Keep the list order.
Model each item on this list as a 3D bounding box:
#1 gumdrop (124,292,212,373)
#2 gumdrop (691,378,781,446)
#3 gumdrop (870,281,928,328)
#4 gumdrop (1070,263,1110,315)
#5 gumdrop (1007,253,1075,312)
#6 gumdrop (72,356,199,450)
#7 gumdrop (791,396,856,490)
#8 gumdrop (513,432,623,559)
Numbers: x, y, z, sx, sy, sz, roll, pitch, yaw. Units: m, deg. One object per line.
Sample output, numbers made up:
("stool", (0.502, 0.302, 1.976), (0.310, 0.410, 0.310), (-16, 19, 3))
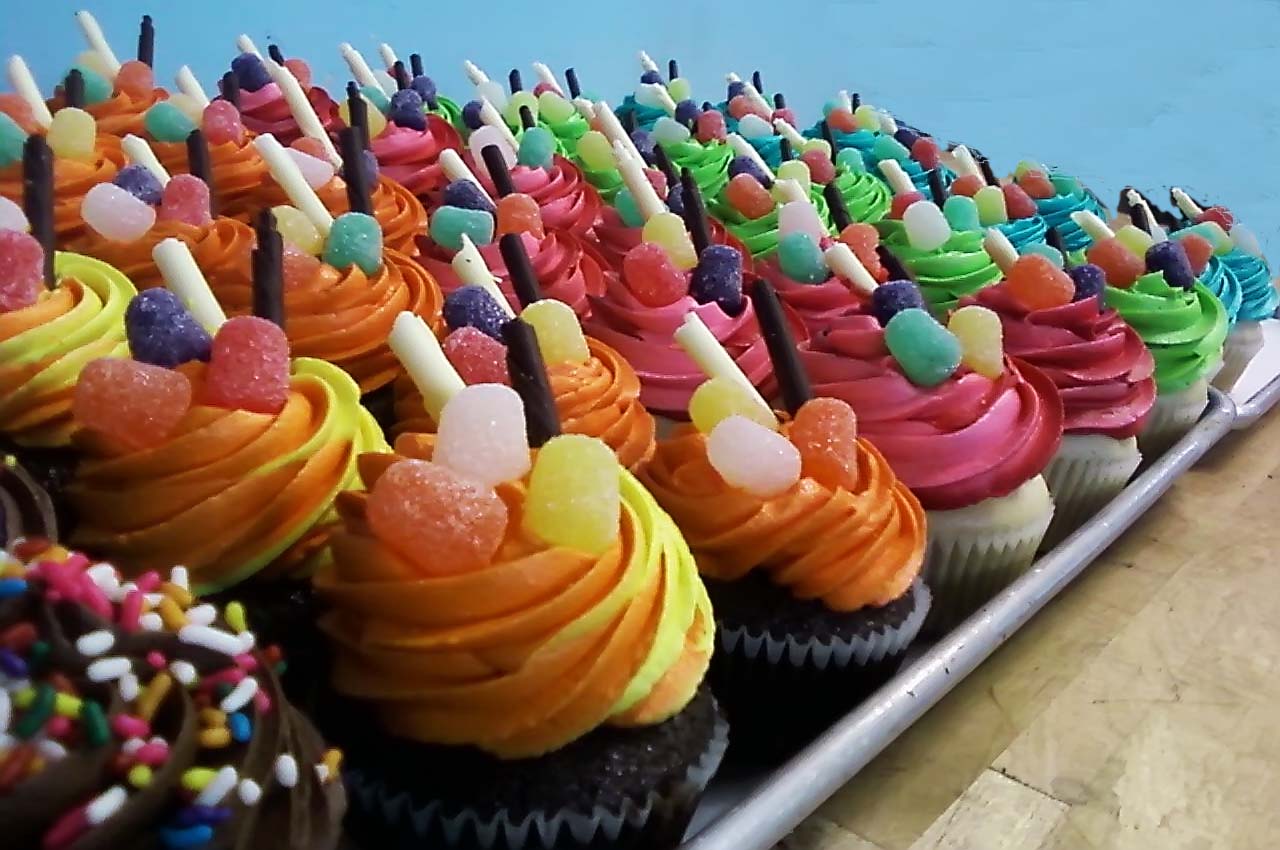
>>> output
("gumdrop", (-0.914, -0.180, 2.109), (0.088, 0.159, 0.125), (-11, 13, 45))
("gumdrop", (0.193, -0.048, 2.407), (0.149, 0.201, 0.051), (-36, 38, 25))
("gumdrop", (0.661, -0.324, 2.911), (0.121, 0.116, 0.119), (-40, 12, -17))
("gumdrop", (1.342, -0.404, 3.278), (0.113, 0.088, 0.153), (-1, 20, 8))
("gumdrop", (1.162, -0.407, 3.207), (0.196, 0.110, 0.151), (16, 41, 20))
("gumdrop", (-0.940, -0.040, 2.043), (0.175, 0.118, 0.173), (9, 0, -43))
("gumdrop", (0.409, 0.041, 2.426), (0.167, 0.168, 0.159), (0, 38, 2))
("gumdrop", (-0.114, 0.123, 2.008), (0.218, 0.182, 0.167), (-14, 39, -16))
